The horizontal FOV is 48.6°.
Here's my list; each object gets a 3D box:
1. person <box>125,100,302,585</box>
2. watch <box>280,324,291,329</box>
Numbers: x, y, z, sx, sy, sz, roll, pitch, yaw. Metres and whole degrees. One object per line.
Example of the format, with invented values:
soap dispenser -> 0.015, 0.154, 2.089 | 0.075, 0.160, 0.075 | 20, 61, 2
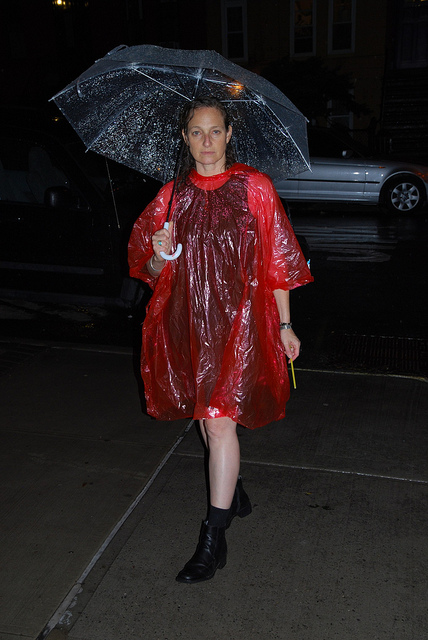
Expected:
person -> 0.007, 0.056, 1.758 | 0.567, 1.633, 0.465 | -5, 10, -24
watch -> 0.262, 0.024, 1.721 | 0.024, 0.016, 0.027 | 4, 8, 4
